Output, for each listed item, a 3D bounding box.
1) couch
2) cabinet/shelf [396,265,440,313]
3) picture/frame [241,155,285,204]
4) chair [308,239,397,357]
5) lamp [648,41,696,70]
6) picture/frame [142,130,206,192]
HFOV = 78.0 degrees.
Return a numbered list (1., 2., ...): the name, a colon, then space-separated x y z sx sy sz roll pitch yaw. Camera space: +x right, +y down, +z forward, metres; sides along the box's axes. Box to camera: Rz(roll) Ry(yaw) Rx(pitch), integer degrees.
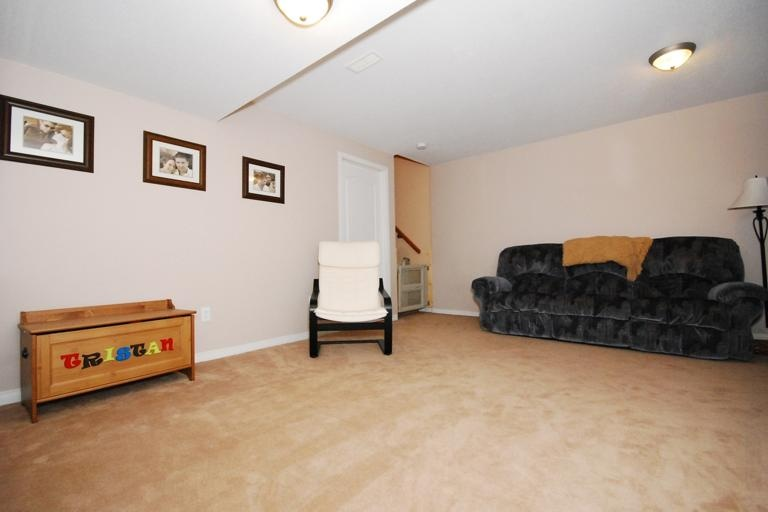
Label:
1. couch: 2.572 0.379 5.210 2.562 1.105 0.826 2 6 30
2. cabinet/shelf: 0.375 0.461 7.341 0.615 0.857 0.880 -5 -4 36
3. picture/frame: -1.352 -0.845 5.180 0.040 0.491 0.575 -5 -6 43
4. chair: -0.387 0.423 5.084 0.839 1.135 0.922 -2 5 -7
5. lamp: 2.706 -1.859 4.420 0.423 0.179 0.310 -1 5 5
6. picture/frame: -2.077 -0.927 4.588 0.649 0.559 0.045 3 -7 -42
